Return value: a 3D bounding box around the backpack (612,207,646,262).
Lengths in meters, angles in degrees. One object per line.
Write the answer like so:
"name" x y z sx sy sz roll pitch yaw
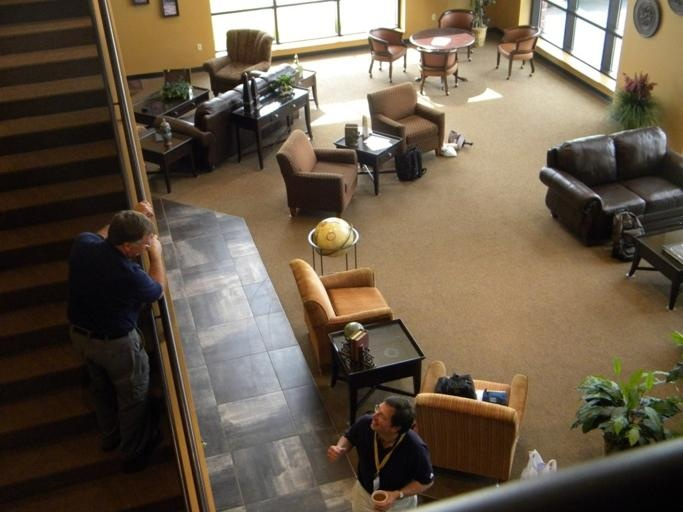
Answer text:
"backpack" 3.952 -0.270 7.512 0.369 0.707 0.492 12 26 34

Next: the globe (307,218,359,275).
"globe" -0.113 -0.078 6.897 0.445 0.601 0.427 -19 44 -17

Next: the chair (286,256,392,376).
"chair" -0.116 0.717 6.491 1.204 1.023 1.258 -15 37 -9

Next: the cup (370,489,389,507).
"cup" 0.250 1.586 3.605 0.083 0.066 0.086 -2 35 1

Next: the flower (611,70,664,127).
"flower" 5.452 -2.801 10.090 0.836 0.882 0.603 21 38 36

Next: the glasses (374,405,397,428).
"glasses" 0.294 1.046 3.582 0.081 0.130 0.105 -9 37 -24

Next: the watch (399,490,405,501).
"watch" 0.409 1.630 3.753 0.038 0.061 0.055 4 45 0

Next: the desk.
"desk" 0.266 1.024 5.984 0.942 1.062 1.247 -9 30 -15
